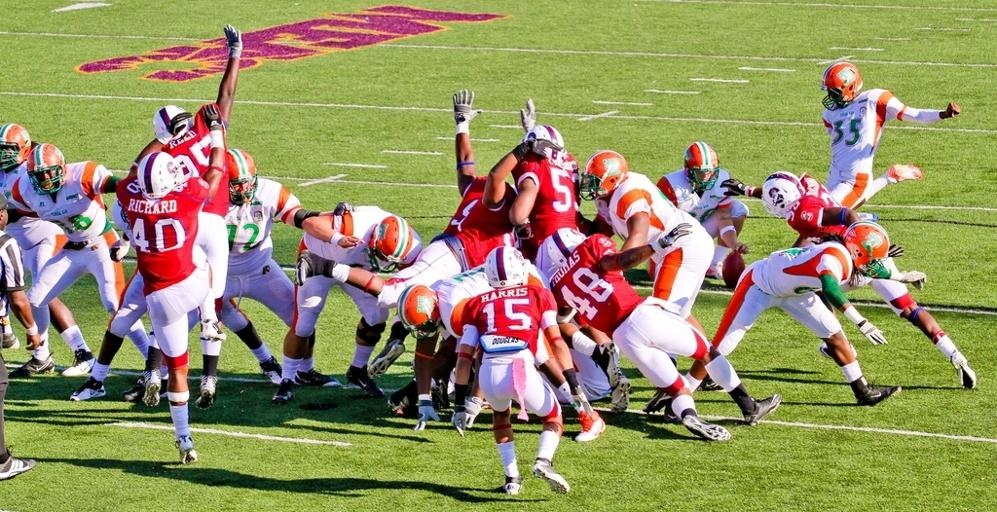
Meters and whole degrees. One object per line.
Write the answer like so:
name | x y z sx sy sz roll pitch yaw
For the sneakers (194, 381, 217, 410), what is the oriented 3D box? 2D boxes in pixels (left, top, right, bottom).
sneakers | -4.201 2.012 16.324 0.209 0.530 0.273 5 3 -9

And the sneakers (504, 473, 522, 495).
sneakers | 0.191 3.089 15.101 0.187 0.188 0.300 0 -7 2

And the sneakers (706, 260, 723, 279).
sneakers | 3.698 0.261 19.314 0.182 0.206 0.505 1 -6 -21

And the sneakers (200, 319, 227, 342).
sneakers | -3.981 1.054 15.787 0.249 0.180 0.411 1 -8 -21

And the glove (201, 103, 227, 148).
glove | -4.116 -1.896 16.470 0.310 0.259 0.958 -24 41 3

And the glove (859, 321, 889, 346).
glove | 5.516 1.140 16.649 0.445 0.378 0.323 -7 11 -39

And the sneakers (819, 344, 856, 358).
sneakers | 4.977 1.417 16.620 0.193 0.142 0.450 32 -31 -31

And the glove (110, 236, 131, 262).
glove | -5.648 -0.081 16.985 0.305 0.385 0.206 33 -2 -20

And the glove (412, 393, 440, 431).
glove | -1.026 2.239 16.284 0.192 0.491 0.448 8 12 42

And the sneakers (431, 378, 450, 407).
sneakers | -0.835 2.000 16.469 0.189 0.469 0.217 -5 8 -24

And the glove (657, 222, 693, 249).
glove | 2.461 -0.279 15.908 0.485 0.122 0.288 -24 37 8

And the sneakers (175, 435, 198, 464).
sneakers | -4.291 2.688 15.555 0.200 0.221 0.493 -15 -24 -13

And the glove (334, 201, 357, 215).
glove | -2.264 -0.702 16.757 0.335 0.137 0.145 -11 -6 30

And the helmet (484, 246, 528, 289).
helmet | 0.125 0.165 15.479 0.583 0.556 0.304 -1 9 -3

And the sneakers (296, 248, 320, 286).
sneakers | -2.749 0.166 16.310 0.289 0.556 0.205 11 -9 -19

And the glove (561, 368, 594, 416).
glove | 1.085 1.898 15.617 0.304 0.230 0.928 -19 -38 6
